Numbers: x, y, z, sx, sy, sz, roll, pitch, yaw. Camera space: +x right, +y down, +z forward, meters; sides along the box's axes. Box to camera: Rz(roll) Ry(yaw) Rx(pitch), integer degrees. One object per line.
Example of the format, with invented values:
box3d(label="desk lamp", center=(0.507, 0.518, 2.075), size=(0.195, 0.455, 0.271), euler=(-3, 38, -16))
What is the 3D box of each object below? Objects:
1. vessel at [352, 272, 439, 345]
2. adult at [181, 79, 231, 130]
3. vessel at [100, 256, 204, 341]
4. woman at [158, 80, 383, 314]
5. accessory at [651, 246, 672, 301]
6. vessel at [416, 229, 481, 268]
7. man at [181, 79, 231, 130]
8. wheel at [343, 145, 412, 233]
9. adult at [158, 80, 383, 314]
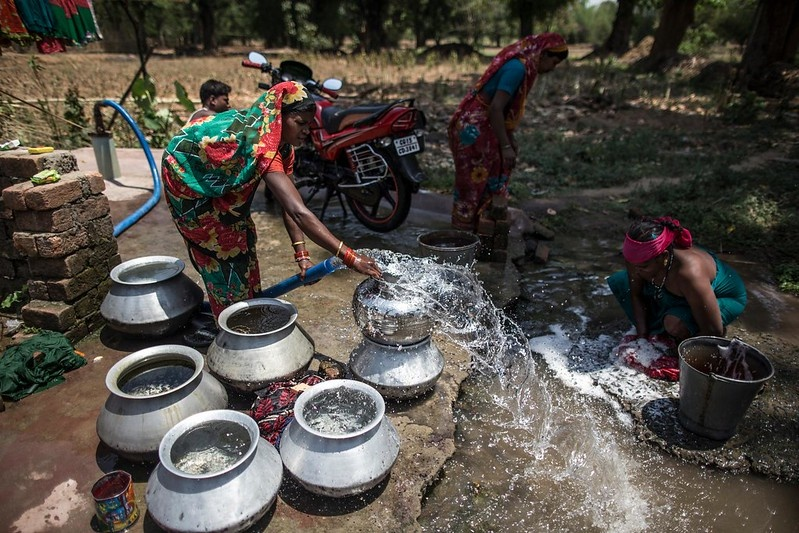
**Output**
box3d(label="vessel", center=(-0.087, 0.467, 6.469), size=(0.694, 0.483, 0.694), euler=(2, 13, -7))
box3d(label="adult", center=(-2.406, -2.047, 8.496), size=(0.489, 0.636, 0.432), euler=(6, 14, -10))
box3d(label="vessel", center=(-2.600, 0.346, 7.214), size=(0.900, 0.549, 0.915), euler=(13, 30, 19))
box3d(label="woman", center=(-1.453, -0.633, 6.786), size=(1.832, 2.298, 0.863), euler=(6, 32, 10))
box3d(label="accessory", center=(2.734, 0.111, 6.974), size=(0.106, 0.406, 0.216), euler=(-2, 7, -38))
box3d(label="vessel", center=(0.577, -0.204, 7.915), size=(0.681, 0.323, 0.484), euler=(-14, 34, -23))
box3d(label="man", center=(-2.404, -2.052, 8.482), size=(0.491, 0.624, 0.425), euler=(7, 16, -6))
box3d(label="wheel", center=(-0.303, -1.053, 8.892), size=(0.986, 1.025, 0.236), euler=(-5, 14, 32))
box3d(label="adult", center=(-1.449, -0.634, 6.787), size=(1.839, 2.298, 0.868), euler=(6, 32, 10))
